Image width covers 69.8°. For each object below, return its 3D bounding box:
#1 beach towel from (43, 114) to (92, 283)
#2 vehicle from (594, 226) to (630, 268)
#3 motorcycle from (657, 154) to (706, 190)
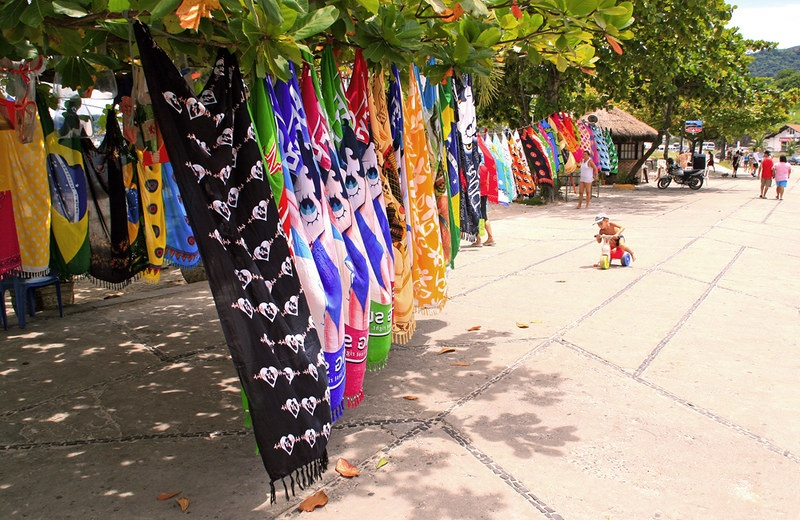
[{"bbox_3d":[-3.651,-0.611,6.337,0.476,1.528,0.307,-6,8,-12],"label":"beach towel"},{"bbox_3d":[3.413,-0.177,9.206,0.414,0.453,0.775,-4,0,37],"label":"vehicle"},{"bbox_3d":[11.958,-3.654,24.460,1.658,1.331,2.039,-1,8,22],"label":"motorcycle"}]
